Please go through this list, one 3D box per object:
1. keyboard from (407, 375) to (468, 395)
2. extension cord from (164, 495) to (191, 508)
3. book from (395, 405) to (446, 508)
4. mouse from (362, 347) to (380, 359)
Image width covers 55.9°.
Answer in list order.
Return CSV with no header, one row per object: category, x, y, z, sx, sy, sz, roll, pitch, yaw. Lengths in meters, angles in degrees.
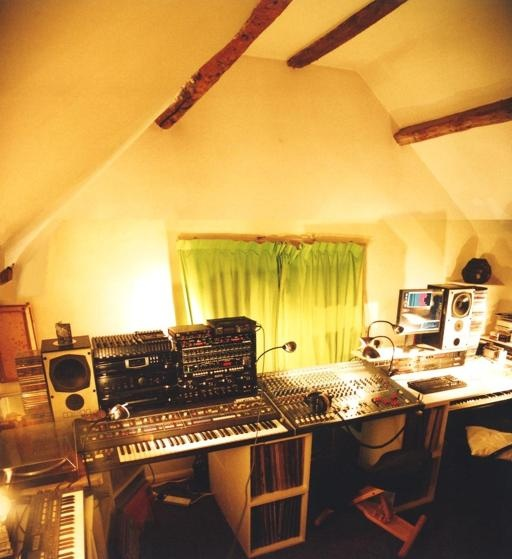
keyboard,1.269,0.738,3.409,0.290,0.060,0.137,-6,16,-21
extension cord,-0.547,1.513,3.296,0.136,0.023,0.069,3,7,-2
book,1.079,1.173,3.247,0.419,0.683,0.134,-6,5,-13
mouse,0.760,0.490,3.228,0.105,0.047,0.125,2,16,13
